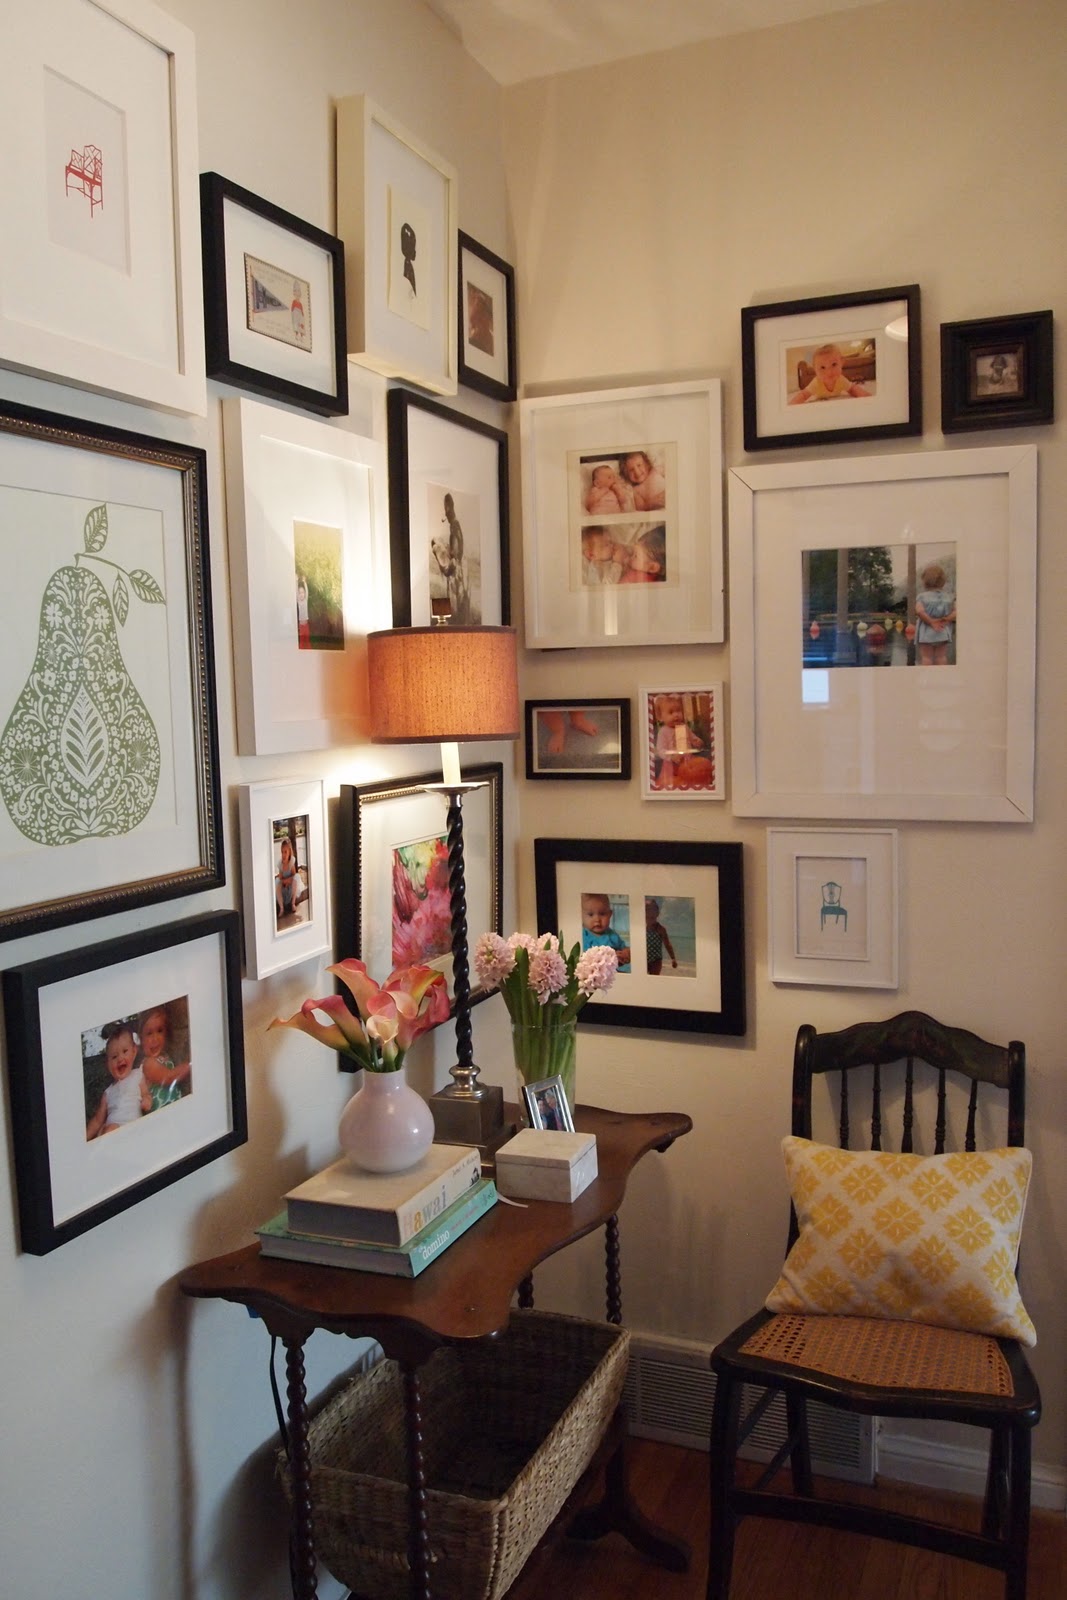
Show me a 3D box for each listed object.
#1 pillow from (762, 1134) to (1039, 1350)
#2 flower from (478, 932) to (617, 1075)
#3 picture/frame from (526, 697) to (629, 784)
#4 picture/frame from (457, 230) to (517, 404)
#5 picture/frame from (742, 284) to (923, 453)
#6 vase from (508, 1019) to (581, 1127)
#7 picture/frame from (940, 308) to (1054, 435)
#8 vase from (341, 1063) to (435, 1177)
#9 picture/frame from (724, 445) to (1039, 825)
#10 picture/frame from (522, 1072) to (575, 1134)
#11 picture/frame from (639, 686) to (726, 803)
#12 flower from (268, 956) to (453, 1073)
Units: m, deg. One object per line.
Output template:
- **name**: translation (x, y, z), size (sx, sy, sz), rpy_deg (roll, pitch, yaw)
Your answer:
- **pillow**: translation (0.576, 0.683, 1.846), size (0.348, 0.147, 0.269), rpy_deg (-1, 49, 24)
- **flower**: translation (0.035, 0.295, 2.017), size (0.202, 0.299, 0.218), rpy_deg (1, 2, 25)
- **picture/frame**: translation (0.091, -0.127, 2.376), size (0.143, 0.130, 0.007), rpy_deg (3, 4, 23)
- **picture/frame**: translation (-0.091, -0.893, 2.234), size (0.034, 0.261, 0.274), rpy_deg (-1, 6, 17)
- **picture/frame**: translation (0.529, -0.760, 2.086), size (0.271, 0.264, 0.024), rpy_deg (2, 9, 27)
- **vase**: translation (0.014, 0.421, 1.911), size (0.114, 0.209, 0.126), rpy_deg (-2, -1, 6)
- **picture/frame**: translation (0.765, -0.709, 1.971), size (0.180, 0.218, 0.022), rpy_deg (2, 4, 28)
- **vase**: translation (-0.187, 0.402, 1.542), size (0.107, 0.118, 0.116), rpy_deg (-1, -4, 7)
- **picture/frame**: translation (0.625, -0.305, 2.090), size (0.584, 0.830, 0.032), rpy_deg (0, 4, 19)
- **picture/frame**: translation (0.016, 0.465, 1.850), size (0.011, 0.096, 0.065), rpy_deg (-13, 2, 32)
- **picture/frame**: translation (0.285, -0.115, 2.276), size (0.186, 0.288, 0.010), rpy_deg (1, 3, 22)
- **flower**: translation (-0.220, 0.230, 1.559), size (0.192, 0.140, 0.192), rpy_deg (-17, 8, -34)
